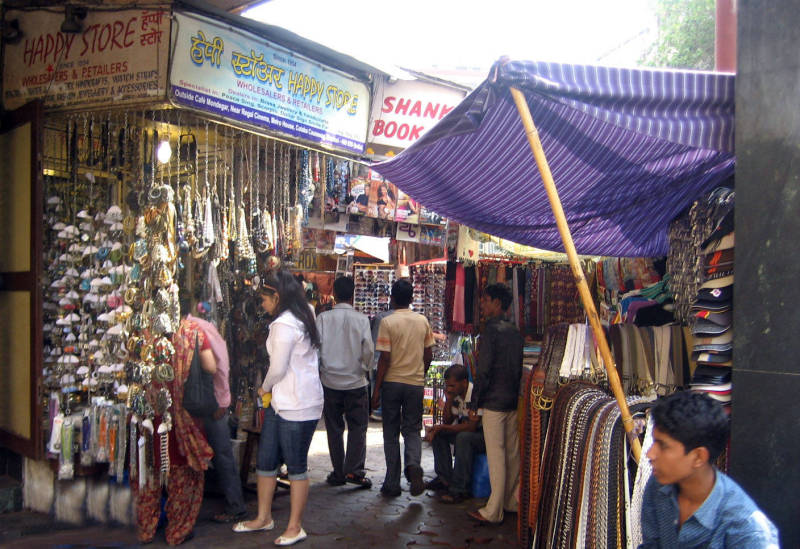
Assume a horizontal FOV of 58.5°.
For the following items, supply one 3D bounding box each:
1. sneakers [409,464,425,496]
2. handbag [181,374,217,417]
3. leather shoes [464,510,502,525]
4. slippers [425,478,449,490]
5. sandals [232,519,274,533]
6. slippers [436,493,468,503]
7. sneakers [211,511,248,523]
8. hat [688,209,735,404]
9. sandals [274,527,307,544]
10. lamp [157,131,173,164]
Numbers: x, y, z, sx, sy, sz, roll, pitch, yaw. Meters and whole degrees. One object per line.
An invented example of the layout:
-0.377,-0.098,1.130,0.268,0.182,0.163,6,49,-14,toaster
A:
0.150,1.955,6.852,0.129,0.285,0.124,-3,-3,1,sneakers
-1.638,0.968,5.760,0.313,0.427,0.186,1,6,-5,handbag
0.718,2.151,6.318,0.253,0.071,0.116,21,-14,8,leather shoes
0.369,2.101,7.198,0.235,0.110,0.095,-1,-2,-2,slippers
-1.236,2.091,5.926,0.294,0.085,0.122,9,-12,-13,sandals
0.496,2.116,6.816,0.244,0.079,0.101,7,-7,-13,slippers
-1.481,2.083,6.166,0.273,0.114,0.110,12,-10,-29,sneakers
1.914,0.191,4.389,0.218,1.162,0.330,2,1,23,hat
-0.881,2.098,5.767,0.216,0.090,0.103,10,-17,-34,sandals
-2.002,-1.051,6.030,0.101,0.266,0.403,1,1,-19,lamp
